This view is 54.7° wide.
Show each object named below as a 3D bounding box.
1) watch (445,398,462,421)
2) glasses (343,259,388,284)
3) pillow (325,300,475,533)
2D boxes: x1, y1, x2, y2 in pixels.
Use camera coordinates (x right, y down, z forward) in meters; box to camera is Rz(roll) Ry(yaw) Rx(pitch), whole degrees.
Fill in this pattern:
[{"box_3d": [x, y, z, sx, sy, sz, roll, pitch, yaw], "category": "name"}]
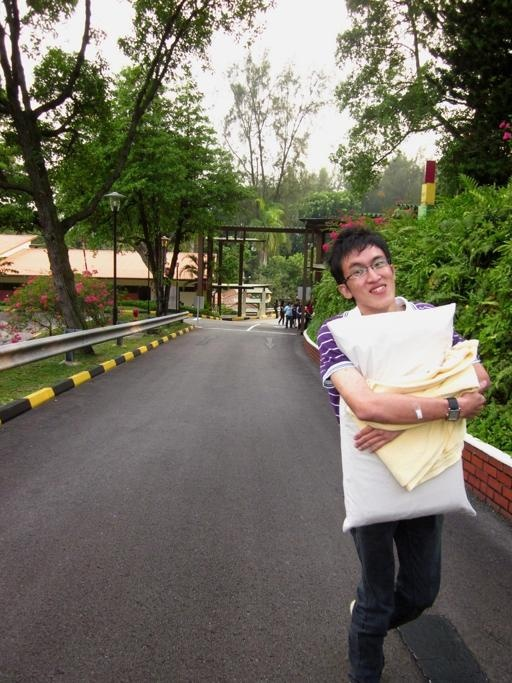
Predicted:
[{"box_3d": [0.619, 0.213, 1.543, 0.054, 0.079, 0.071, 3, 2, 9], "category": "watch"}, {"box_3d": [0.429, -0.242, 1.881, 0.113, 0.041, 0.113, -20, -7, -7], "category": "glasses"}, {"box_3d": [0.453, 0.230, 1.598, 0.499, 0.719, 0.213, -7, 7, -5], "category": "pillow"}]
